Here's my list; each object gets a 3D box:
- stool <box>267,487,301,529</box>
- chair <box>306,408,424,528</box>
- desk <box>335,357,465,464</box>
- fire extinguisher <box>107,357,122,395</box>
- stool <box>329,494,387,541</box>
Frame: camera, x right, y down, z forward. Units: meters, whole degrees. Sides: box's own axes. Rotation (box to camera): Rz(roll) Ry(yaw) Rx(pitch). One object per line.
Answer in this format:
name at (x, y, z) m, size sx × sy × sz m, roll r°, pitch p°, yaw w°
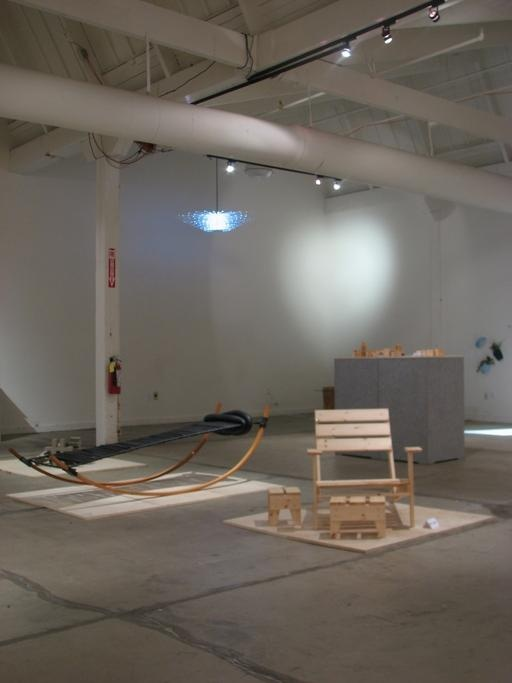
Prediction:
stool at (0.173, 1.148, 3.680) m, size 0.263 × 0.237 × 0.251 m, roll -1°, pitch -5°, yaw -8°
chair at (0.784, 0.931, 4.213) m, size 0.767 × 0.694 × 1.182 m, roll -1°, pitch -7°, yaw 5°
desk at (1.563, 0.715, 7.085) m, size 1.245 × 1.055 × 0.628 m, roll -1°, pitch -1°, yaw -3°
fire extinguisher at (-2.033, 0.502, 7.701) m, size 0.163 × 0.563 × 0.374 m, roll -2°, pitch -7°, yaw 4°
stool at (0.622, 1.104, 3.319) m, size 0.344 × 0.198 × 0.183 m, roll -1°, pitch -14°, yaw 1°
